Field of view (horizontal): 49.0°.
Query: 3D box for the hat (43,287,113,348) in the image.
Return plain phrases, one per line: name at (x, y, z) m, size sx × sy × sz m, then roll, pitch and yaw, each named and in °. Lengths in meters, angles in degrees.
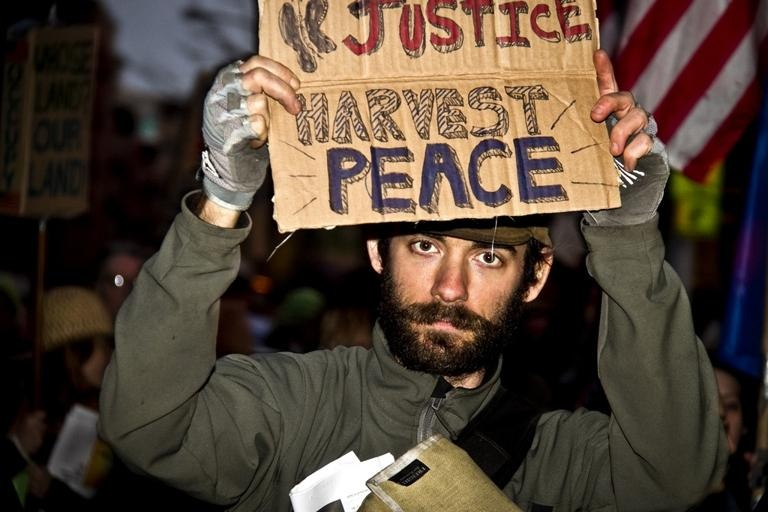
hat at (-2.474, 0.507, 6.881) m, size 0.363 × 0.318 × 0.539 m, roll -9°, pitch -10°, yaw -9°
